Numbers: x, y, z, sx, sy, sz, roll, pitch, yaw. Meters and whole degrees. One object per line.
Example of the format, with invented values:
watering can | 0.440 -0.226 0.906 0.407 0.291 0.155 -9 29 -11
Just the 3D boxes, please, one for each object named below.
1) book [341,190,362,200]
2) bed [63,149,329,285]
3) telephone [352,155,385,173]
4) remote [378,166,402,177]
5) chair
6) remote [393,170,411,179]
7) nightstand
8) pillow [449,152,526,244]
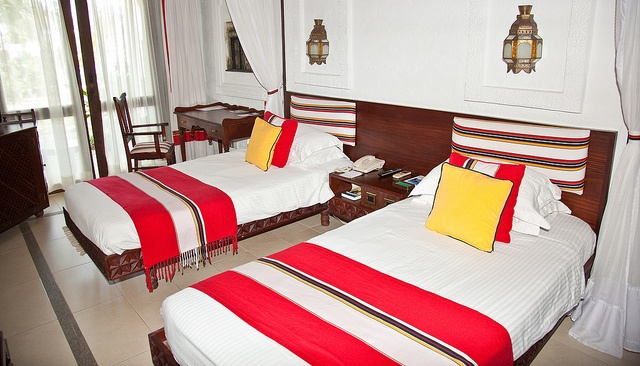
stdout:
book | 0.472 0.149 4.964 0.149 0.032 0.146 14 23 36
bed | -1.475 0.298 4.500 2.305 0.565 1.856 -17 27 -34
telephone | 0.669 -0.263 5.004 0.309 0.117 0.311 -19 24 -33
remote | 0.967 -0.134 4.894 0.368 0.051 0.111 -14 15 -18
chair | -2.951 -0.722 6.273 0.931 1.364 0.804 1 21 -18
remote | 1.071 -0.110 4.739 0.200 0.037 0.106 -15 22 -39
nightstand | 0.713 0.219 4.972 1.069 0.581 0.541 18 27 38
pillow | 1.800 0.132 3.728 0.276 0.790 0.900 24 -9 -29
